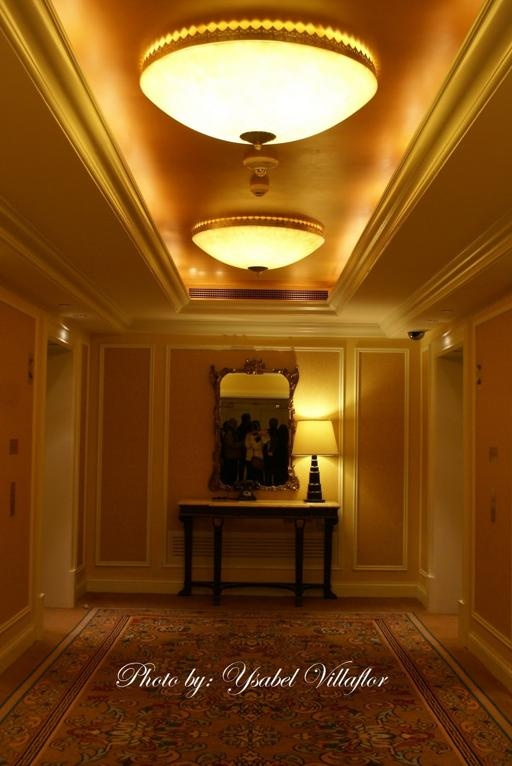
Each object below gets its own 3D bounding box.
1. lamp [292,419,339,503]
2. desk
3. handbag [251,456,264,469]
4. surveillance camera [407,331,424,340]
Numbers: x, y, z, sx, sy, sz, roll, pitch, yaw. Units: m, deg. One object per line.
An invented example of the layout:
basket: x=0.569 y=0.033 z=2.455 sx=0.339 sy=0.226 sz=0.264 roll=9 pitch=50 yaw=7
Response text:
lamp: x=0.625 y=0.818 z=5.669 sx=0.471 sy=0.886 sz=0.463 roll=1 pitch=-9 yaw=6
desk: x=0.030 y=1.768 z=5.640 sx=1.651 sy=1.038 sz=0.566 roll=1 pitch=-3 yaw=0
handbag: x=0.021 y=0.863 z=5.802 sx=0.181 sy=0.168 sz=0.101 roll=2 pitch=1 yaw=2
surveillance camera: x=1.619 y=-0.488 z=5.407 sx=0.133 sy=0.068 sz=0.207 roll=-4 pitch=-11 yaw=32
